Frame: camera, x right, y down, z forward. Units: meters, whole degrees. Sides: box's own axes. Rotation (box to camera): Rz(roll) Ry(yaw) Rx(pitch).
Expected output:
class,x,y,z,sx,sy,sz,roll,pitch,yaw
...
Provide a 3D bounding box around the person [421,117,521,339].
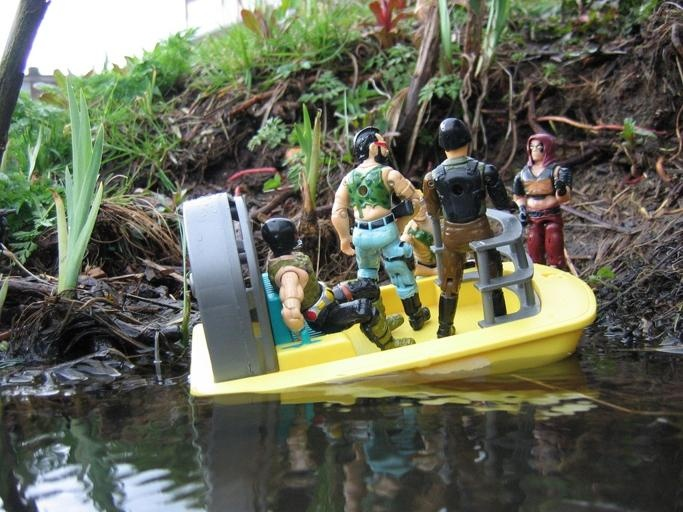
class,x,y,z,sx,sy,sz,roll,pitch,yaw
person,0.958,-0.238,5.614,0.635,1.645,0.487,-6,-4,24

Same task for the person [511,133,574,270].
class,x,y,z,sx,sy,sz,roll,pitch,yaw
person,1.702,-0.450,6.255,0.455,0.787,0.381,-6,-4,13

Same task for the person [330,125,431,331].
class,x,y,z,sx,sy,sz,roll,pitch,yaw
person,0.357,-0.251,6.105,0.709,1.626,0.679,-3,24,13
